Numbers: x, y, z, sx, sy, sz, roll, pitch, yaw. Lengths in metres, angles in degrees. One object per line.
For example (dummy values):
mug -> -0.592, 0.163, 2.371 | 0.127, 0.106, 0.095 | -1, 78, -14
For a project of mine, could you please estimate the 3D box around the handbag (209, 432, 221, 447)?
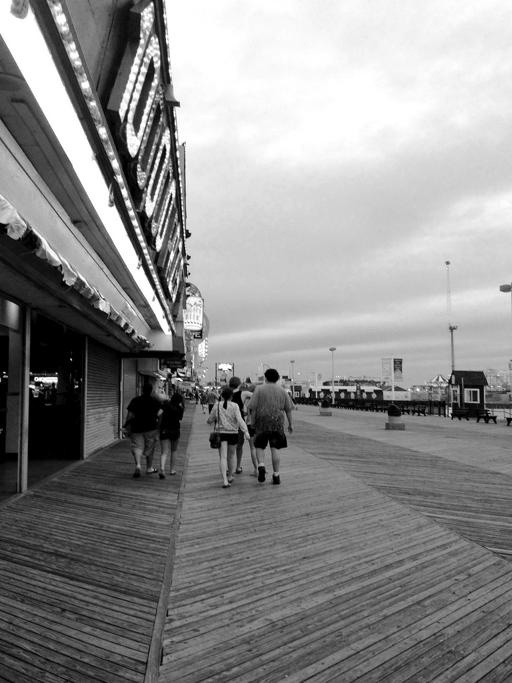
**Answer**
handbag -> -0.576, 1.431, 7.737 | 0.154, 0.232, 0.339 | 1, -4, -5

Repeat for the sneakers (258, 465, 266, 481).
sneakers -> 0.085, 1.969, 7.937 | 0.073, 0.303, 0.110 | -2, -4, 3
